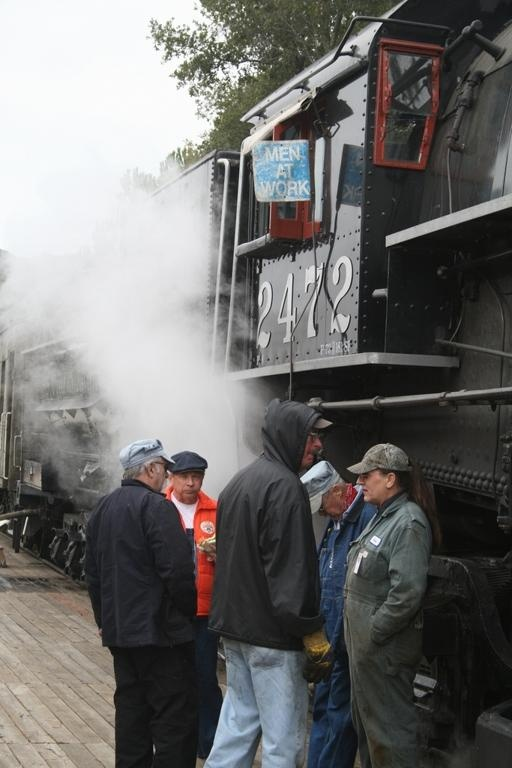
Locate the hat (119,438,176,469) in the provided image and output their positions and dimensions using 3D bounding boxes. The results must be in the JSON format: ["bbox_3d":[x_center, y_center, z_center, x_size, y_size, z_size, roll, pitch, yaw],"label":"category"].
[{"bbox_3d":[-0.436,0.260,2.841,0.162,0.087,0.121,-6,1,-22],"label":"hat"}]

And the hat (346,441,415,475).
[{"bbox_3d":[0.477,0.268,2.608,0.168,0.101,0.120,3,-4,12],"label":"hat"}]

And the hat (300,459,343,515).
[{"bbox_3d":[0.247,0.405,2.933,0.147,0.113,0.219,3,31,42],"label":"hat"}]

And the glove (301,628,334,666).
[{"bbox_3d":[0.178,0.755,2.034,0.063,0.102,0.101,-5,-19,-3],"label":"glove"}]
